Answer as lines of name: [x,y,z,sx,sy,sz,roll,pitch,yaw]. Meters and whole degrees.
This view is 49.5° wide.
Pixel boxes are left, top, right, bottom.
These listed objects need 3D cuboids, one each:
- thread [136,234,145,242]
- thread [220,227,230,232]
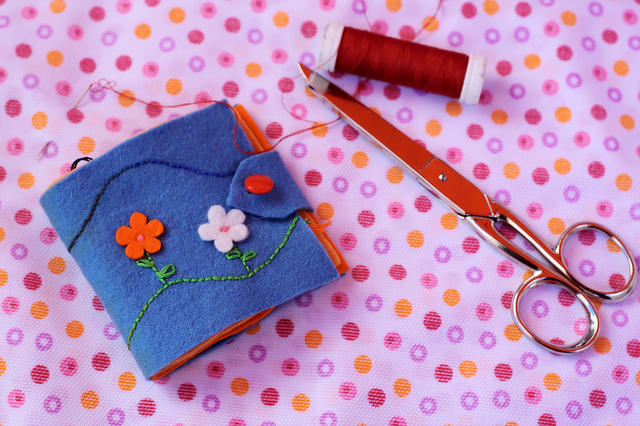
thread: [-0.475,0.067,1.810,0.017,0.005,0.017,-2,82,-5]
thread: [-0.256,0.044,1.829,0.013,0.003,0.013,1,84,-3]
